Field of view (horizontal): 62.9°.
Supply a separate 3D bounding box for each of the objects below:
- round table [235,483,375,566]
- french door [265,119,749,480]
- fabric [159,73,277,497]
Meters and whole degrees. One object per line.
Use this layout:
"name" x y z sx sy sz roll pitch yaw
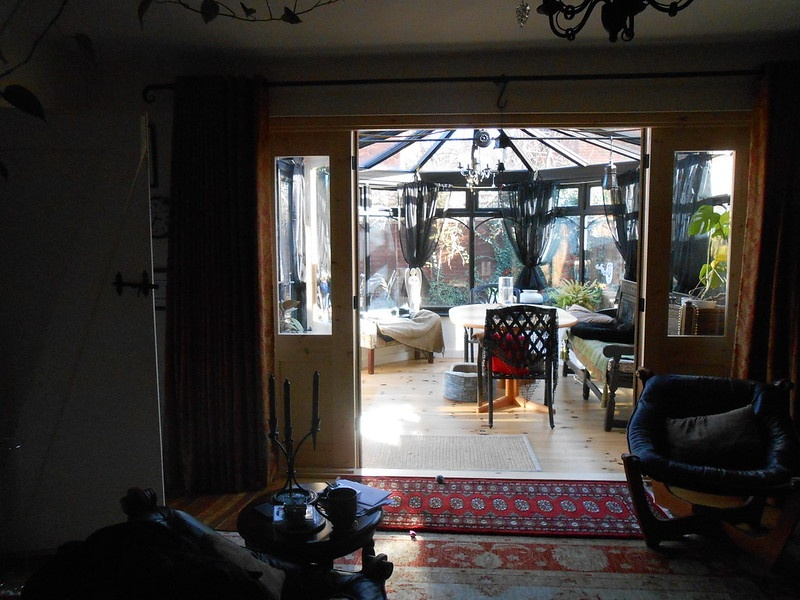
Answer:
"round table" -0.437 1.133 3.336 0.489 0.369 0.464 0 6 0
"french door" 0.901 -0.011 5.560 3.165 2.296 0.064 1 6 13
"fabric" -1.245 -0.071 4.382 0.728 2.802 0.137 -1 4 -6
